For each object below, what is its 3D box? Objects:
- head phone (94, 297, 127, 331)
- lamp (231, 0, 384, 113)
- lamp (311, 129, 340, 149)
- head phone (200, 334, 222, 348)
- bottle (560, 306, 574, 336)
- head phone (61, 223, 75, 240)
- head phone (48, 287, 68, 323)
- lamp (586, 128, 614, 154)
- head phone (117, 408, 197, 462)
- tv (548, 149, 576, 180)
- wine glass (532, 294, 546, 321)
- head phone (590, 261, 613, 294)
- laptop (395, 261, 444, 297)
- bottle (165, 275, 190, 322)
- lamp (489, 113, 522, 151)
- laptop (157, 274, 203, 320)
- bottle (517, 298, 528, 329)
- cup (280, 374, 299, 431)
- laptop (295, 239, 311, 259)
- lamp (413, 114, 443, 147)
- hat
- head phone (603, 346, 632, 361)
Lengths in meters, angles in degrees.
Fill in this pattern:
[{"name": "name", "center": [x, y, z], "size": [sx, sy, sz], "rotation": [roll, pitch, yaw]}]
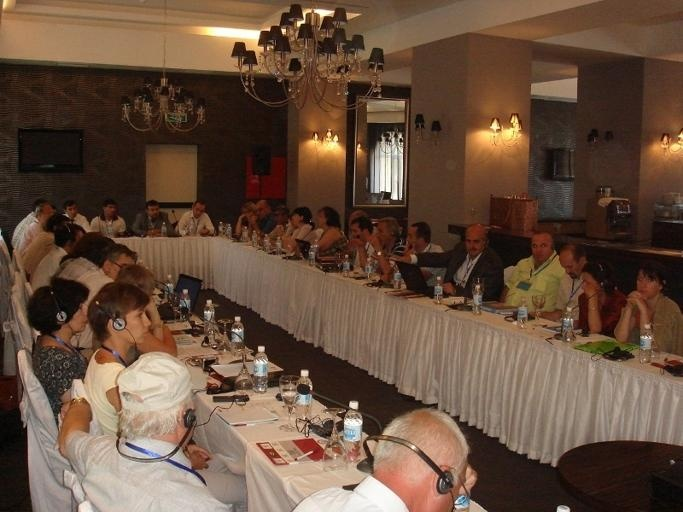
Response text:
[{"name": "head phone", "center": [-1.185, 0.280, 2.854], "size": [0.128, 0.180, 0.171], "rotation": [-20, 4, -8]}, {"name": "lamp", "center": [-0.619, -3.047, 8.228], "size": [2.046, 1.361, 2.123], "rotation": [11, 19, 33]}, {"name": "lamp", "center": [-0.346, -2.666, 12.458], "size": [0.506, 0.364, 0.398], "rotation": [-1, 3, -22]}, {"name": "head phone", "center": [-0.970, 0.645, 4.037], "size": [0.095, 0.068, 0.158], "rotation": [3, 3, -6]}, {"name": "bottle", "center": [1.652, 0.461, 3.980], "size": [0.068, 0.210, 0.254], "rotation": [3, 10, 21]}, {"name": "head phone", "center": [-2.843, -0.242, 5.663], "size": [0.118, 0.169, 0.154], "rotation": [7, -5, 6]}, {"name": "head phone", "center": [-1.581, 0.275, 3.019], "size": [0.052, 0.154, 0.119], "rotation": [-26, -21, 17]}, {"name": "lamp", "center": [5.061, -2.283, 10.682], "size": [0.169, 0.442, 0.584], "rotation": [-5, 11, -31]}, {"name": "head phone", "center": [-0.647, 0.630, 1.889], "size": [0.262, 0.167, 0.275], "rotation": [-4, 10, -25]}, {"name": "tv", "center": [6.197, -2.595, 15.329], "size": [0.960, 1.002, 0.239], "rotation": [0, -2, -14]}, {"name": "wine glass", "center": [1.620, 0.416, 4.471], "size": [0.074, 0.245, 0.429], "rotation": [3, 10, 22]}, {"name": "head phone", "center": [2.018, 0.165, 4.207], "size": [0.162, 0.229, 0.095], "rotation": [-18, -18, -45]}, {"name": "laptop", "center": [0.791, 0.201, 5.360], "size": [0.284, 0.281, 0.377], "rotation": [-15, 13, -32]}, {"name": "bottle", "center": [-1.464, 0.389, 4.863], "size": [0.254, 0.347, 0.436], "rotation": [0, 5, -17]}, {"name": "lamp", "center": [2.624, -1.963, 8.521], "size": [0.661, 0.512, 0.193], "rotation": [-4, 10, -25]}, {"name": "laptop", "center": [-1.502, 0.366, 4.995], "size": [0.389, 0.309, 0.512], "rotation": [2, 2, -35]}, {"name": "bottle", "center": [1.434, 0.464, 4.307], "size": [0.071, 0.155, 0.173], "rotation": [2, 9, 16]}, {"name": "cup", "center": [-0.284, 0.763, 2.973], "size": [0.099, 0.222, 0.332], "rotation": [-1, 9, -6]}, {"name": "laptop", "center": [-0.546, -0.095, 7.272], "size": [0.203, 0.271, 0.247], "rotation": [-10, 9, -42]}, {"name": "lamp", "center": [1.388, -2.056, 8.840], "size": [0.186, 0.491, 0.570], "rotation": [-6, 11, -35]}, {"name": "hat", "center": [-0.666, 0.444, 1.929], "size": [0.238, 0.157, 0.200], "rotation": [0, 9, 3]}, {"name": "head phone", "center": [1.822, 0.651, 3.573], "size": [0.104, 0.046, 0.105], "rotation": [-7, 7, -36]}]
